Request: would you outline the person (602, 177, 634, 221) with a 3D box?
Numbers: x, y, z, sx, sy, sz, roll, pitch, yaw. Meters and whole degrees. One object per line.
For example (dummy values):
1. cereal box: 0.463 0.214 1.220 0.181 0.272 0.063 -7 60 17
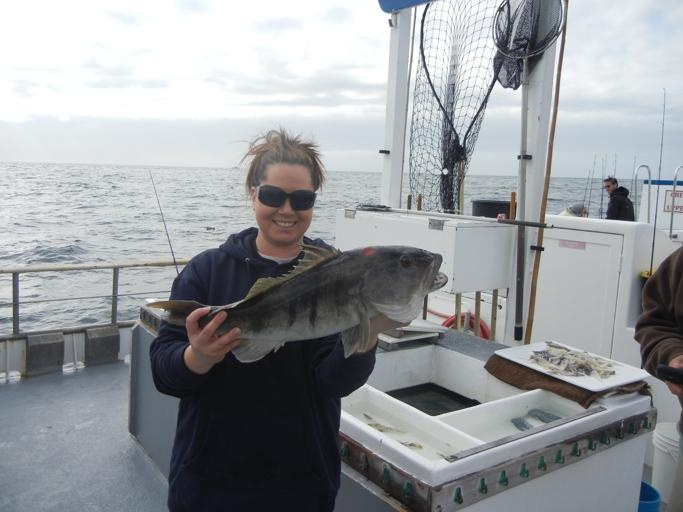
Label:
1. person: 5.748 -1.206 9.805 0.504 0.860 0.820 4 8 31
